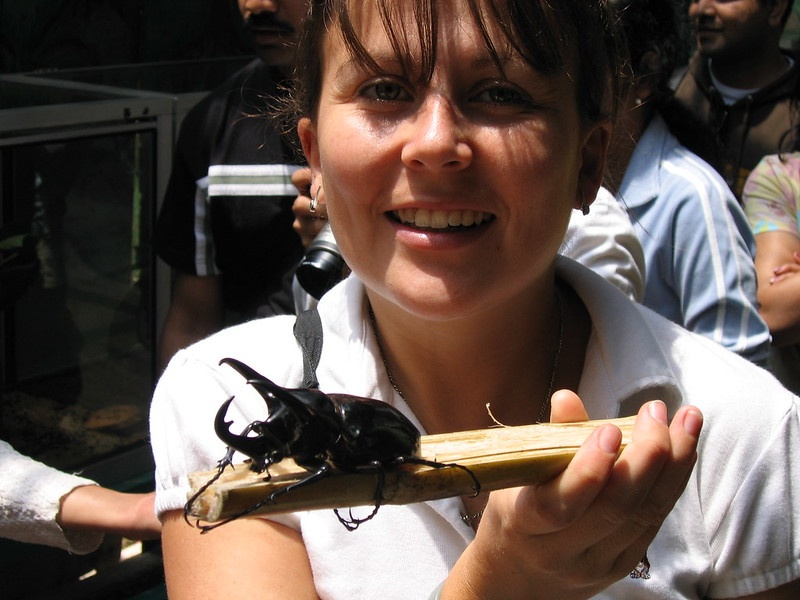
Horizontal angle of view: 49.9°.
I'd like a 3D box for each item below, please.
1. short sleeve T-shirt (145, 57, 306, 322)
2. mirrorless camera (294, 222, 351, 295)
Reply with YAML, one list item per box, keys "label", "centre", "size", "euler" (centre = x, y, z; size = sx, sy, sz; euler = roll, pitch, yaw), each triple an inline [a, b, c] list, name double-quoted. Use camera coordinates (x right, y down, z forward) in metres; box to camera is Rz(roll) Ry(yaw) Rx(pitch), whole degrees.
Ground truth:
- label: "short sleeve T-shirt"
  centre: [-0.814, -0.478, 4.069]
  size: [1.055, 1.162, 0.360]
  euler: [-4, 5, -30]
- label: "mirrorless camera"
  centre: [-0.279, -0.146, 3.155]
  size: [0.099, 0.095, 0.278]
  euler: [17, 29, -2]
